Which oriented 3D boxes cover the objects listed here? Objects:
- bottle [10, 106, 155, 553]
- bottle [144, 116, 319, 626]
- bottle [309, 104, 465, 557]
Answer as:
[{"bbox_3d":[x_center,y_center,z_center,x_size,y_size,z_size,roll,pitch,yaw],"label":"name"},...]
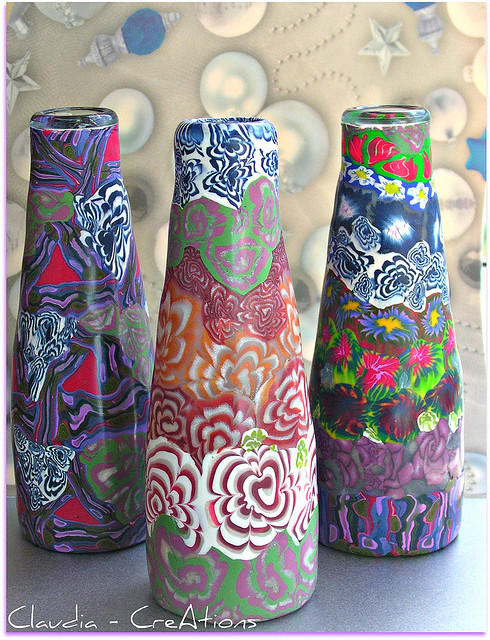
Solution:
[{"bbox_3d":[-0.116,0.012,0.442,0.102,0.303,0.059,-2,7,-11],"label":"bottle"},{"bbox_3d":[-0.005,0.031,0.350,0.103,0.285,0.048,-2,7,-11],"label":"bottle"},{"bbox_3d":[0.096,0.012,0.429,0.106,0.302,0.056,1,7,14],"label":"bottle"}]
